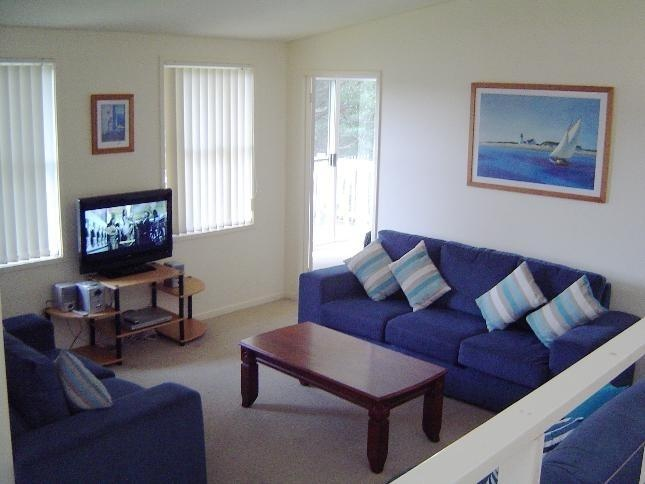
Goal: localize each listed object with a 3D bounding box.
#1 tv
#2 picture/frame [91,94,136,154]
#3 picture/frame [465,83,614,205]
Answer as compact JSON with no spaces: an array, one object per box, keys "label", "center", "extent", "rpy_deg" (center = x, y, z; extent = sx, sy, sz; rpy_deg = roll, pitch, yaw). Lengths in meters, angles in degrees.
[{"label":"tv","center":[-1.822,-0.096,4.775],"extent":[0.212,0.579,0.813],"rpy_deg":[7,11,41]},{"label":"picture/frame","center":[-1.899,-1.087,4.744],"extent":[0.541,0.653,0.048],"rpy_deg":[-9,15,-42]},{"label":"picture/frame","center":[1.871,-0.849,4.396],"extent":[1.081,0.784,0.036],"rpy_deg":[13,20,32]}]
